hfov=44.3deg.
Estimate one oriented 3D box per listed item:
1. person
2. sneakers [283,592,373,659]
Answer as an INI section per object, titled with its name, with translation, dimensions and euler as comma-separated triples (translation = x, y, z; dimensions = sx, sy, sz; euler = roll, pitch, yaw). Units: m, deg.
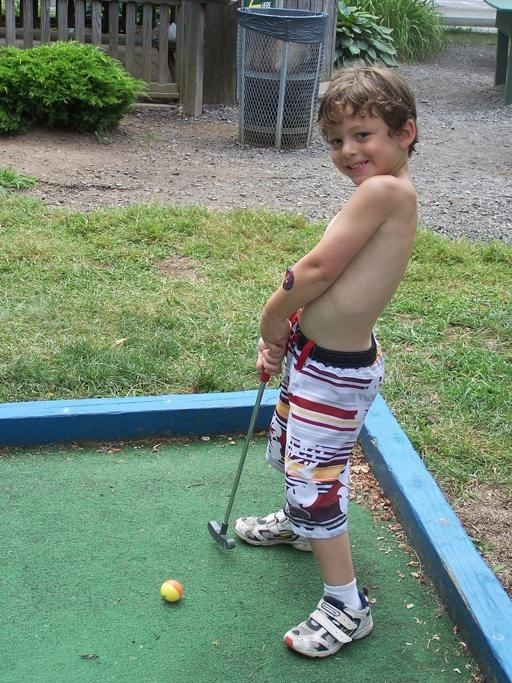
[person]
translation = 0.146, 0.066, 1.380
dimensions = 0.335, 1.266, 0.311
euler = 8, 15, 18
[sneakers]
translation = 0.167, 0.629, 1.465
dimensions = 0.225, 0.103, 0.103
euler = -10, 19, -28
